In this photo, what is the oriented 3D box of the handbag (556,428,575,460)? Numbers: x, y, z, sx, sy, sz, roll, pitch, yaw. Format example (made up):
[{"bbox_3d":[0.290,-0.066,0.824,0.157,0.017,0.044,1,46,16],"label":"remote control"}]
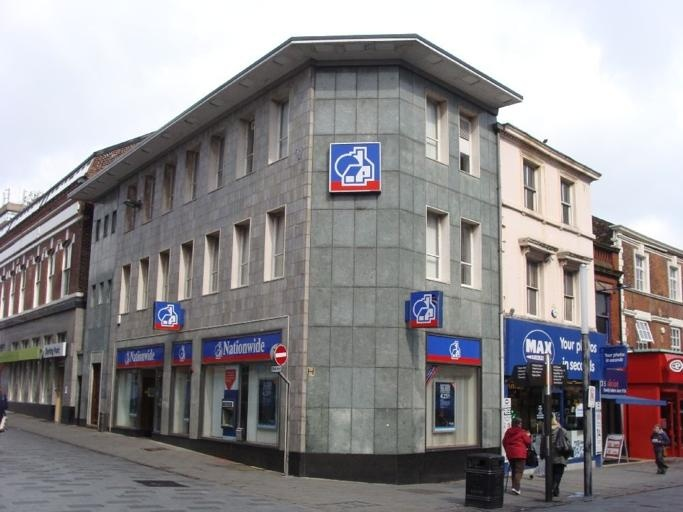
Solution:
[{"bbox_3d":[6.776,5.741,22.585,0.619,0.960,0.356,15,-22,-42],"label":"handbag"}]

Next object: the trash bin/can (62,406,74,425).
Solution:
[{"bbox_3d":[-14.314,8.437,38.901,0.463,0.920,0.881,1,-7,-33],"label":"trash bin/can"}]

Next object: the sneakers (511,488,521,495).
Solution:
[{"bbox_3d":[5.337,7.256,22.608,0.147,0.174,0.421,9,-23,41],"label":"sneakers"}]

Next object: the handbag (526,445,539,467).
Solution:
[{"bbox_3d":[5.756,6.079,22.495,0.231,0.554,0.694,-7,-18,24],"label":"handbag"}]

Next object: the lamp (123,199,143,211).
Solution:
[{"bbox_3d":[-9.806,-2.501,34.799,0.757,0.380,0.602,7,-15,-22],"label":"lamp"}]
